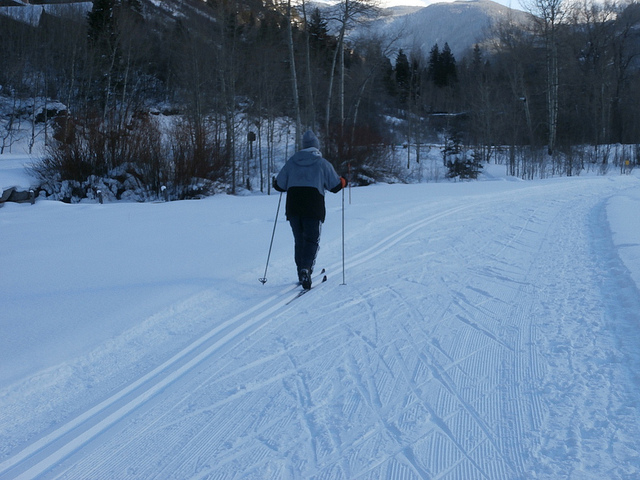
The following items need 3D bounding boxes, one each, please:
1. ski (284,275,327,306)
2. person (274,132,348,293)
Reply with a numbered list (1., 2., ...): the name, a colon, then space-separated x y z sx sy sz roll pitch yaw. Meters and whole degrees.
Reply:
1. ski: -0.223 0.784 8.203 0.056 0.107 0.556 30 49 24
2. person: -0.165 -0.479 8.539 0.984 2.405 0.847 1 7 -7
